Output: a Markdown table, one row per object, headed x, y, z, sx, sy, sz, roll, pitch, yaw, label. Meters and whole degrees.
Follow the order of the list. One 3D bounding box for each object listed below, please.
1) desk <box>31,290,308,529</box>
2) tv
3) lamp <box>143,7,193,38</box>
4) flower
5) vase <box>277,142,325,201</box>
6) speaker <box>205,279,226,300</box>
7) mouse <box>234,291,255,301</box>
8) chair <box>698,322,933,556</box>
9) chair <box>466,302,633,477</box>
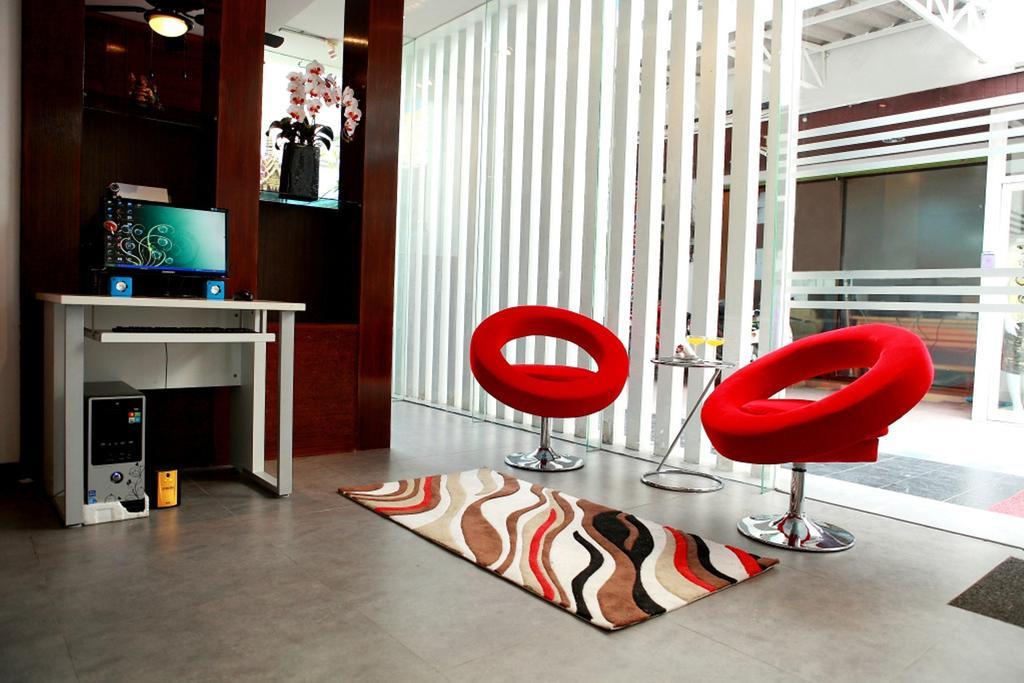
| x | y | z | sx | sy | sz | roll | pitch | yaw | label |
| --- | --- | --- | --- | --- | --- | --- | --- | --- | --- |
| -1.914 | 0.288 | 3.903 | 0.928 | 1.025 | 1.289 | 5 | 5 | 43 | desk |
| -2.003 | -0.582 | 3.962 | 0.555 | 0.332 | 0.059 | -1 | 0 | -35 | tv |
| -2.437 | -2.286 | 4.977 | 0.316 | 0.143 | 0.208 | -7 | 14 | -35 | lamp |
| -1.409 | -1.664 | 4.951 | 0.645 | 0.590 | 0.348 | -3 | 13 | -21 | flower |
| -1.548 | -1.240 | 4.989 | 0.294 | 0.339 | 0.325 | 15 | 19 | 17 | vase |
| -1.753 | -0.305 | 4.120 | 0.125 | 0.115 | 0.125 | 0 | 0 | 45 | speaker |
| -1.624 | -0.270 | 4.228 | 0.110 | 0.055 | 0.176 | 0 | -1 | -16 | mouse |
| 1.605 | 0.511 | 3.795 | 1.140 | 1.127 | 1.177 | -5 | 3 | -17 | chair |
| 0.261 | 0.310 | 4.872 | 1.186 | 1.070 | 1.037 | 2 | 7 | -13 | chair |
